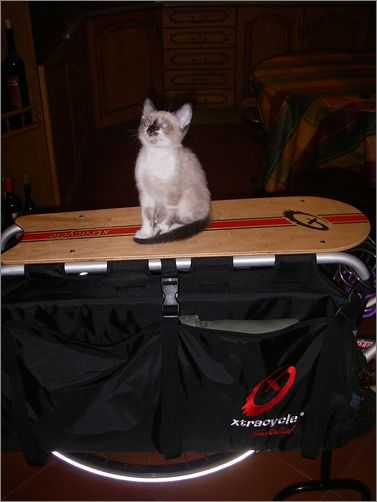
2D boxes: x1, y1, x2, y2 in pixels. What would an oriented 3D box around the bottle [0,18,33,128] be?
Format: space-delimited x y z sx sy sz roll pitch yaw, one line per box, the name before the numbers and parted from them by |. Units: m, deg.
bottle | -0.787 -0.795 1.829 0.101 0.440 0.230 -9 23 -18
